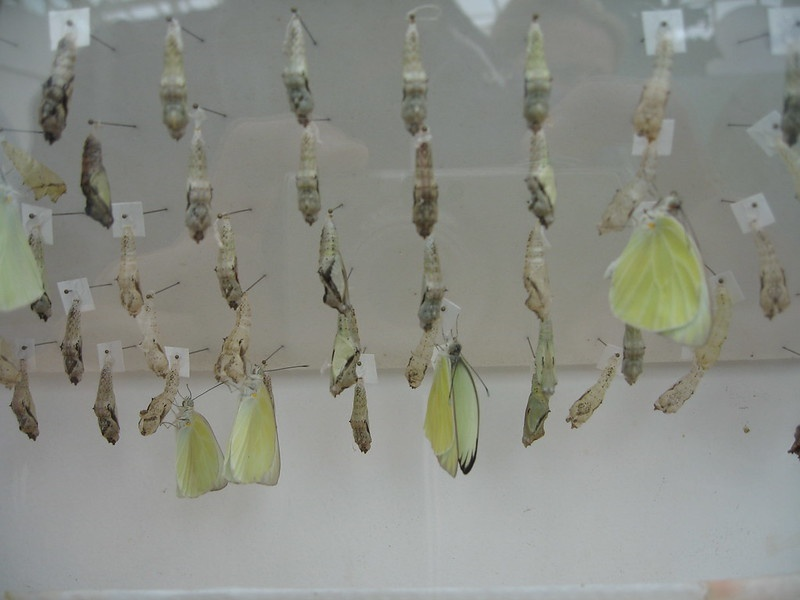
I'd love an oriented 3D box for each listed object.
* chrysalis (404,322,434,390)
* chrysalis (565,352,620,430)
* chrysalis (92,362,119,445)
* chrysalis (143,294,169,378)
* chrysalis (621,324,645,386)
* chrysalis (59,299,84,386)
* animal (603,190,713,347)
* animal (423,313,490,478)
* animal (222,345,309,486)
[{"bbox_3d":[0.086,0.208,3.759,0.090,0.360,0.104,17,-68,5],"label":"chrysalis"},{"bbox_3d":[0.710,0.334,3.728,0.105,0.364,0.082,30,3,13],"label":"chrysalis"},{"bbox_3d":[-1.065,0.381,3.704,0.079,0.306,0.107,2,-17,-15],"label":"chrysalis"},{"bbox_3d":[-0.870,0.138,3.697,0.057,0.323,0.084,-2,5,6],"label":"chrysalis"},{"bbox_3d":[0.838,0.174,3.649,0.077,0.046,0.296,-5,-62,3],"label":"chrysalis"},{"bbox_3d":[-1.180,0.143,3.709,0.082,0.329,0.070,7,-9,-25],"label":"chrysalis"},{"bbox_3d":[0.848,-0.080,3.302,0.296,0.452,0.157,3,-9,26],"label":"animal"},{"bbox_3d":[0.198,0.368,3.598,0.183,0.127,0.631,9,-64,20],"label":"animal"},{"bbox_3d":[-0.511,0.424,3.688,0.233,0.557,0.192,3,-25,-20],"label":"animal"}]
